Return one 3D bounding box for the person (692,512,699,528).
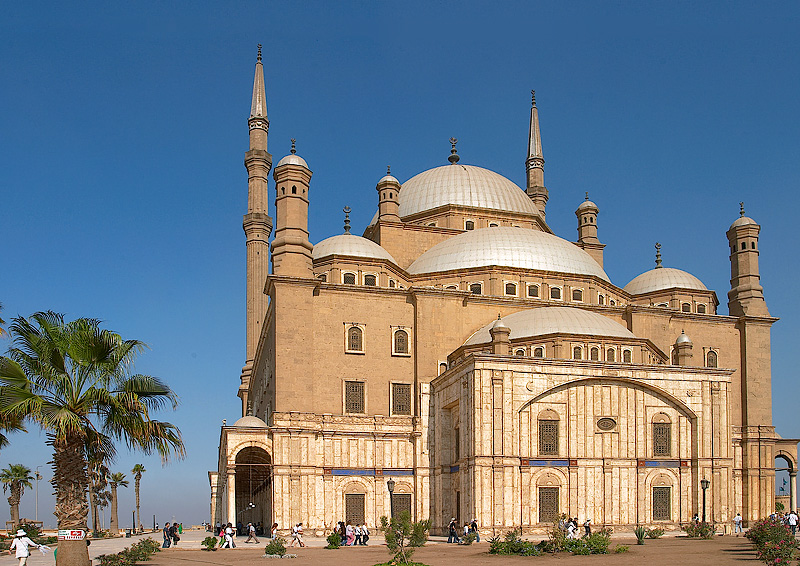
[{"bbox_3d":[16.987,13.730,94.793,0.417,0.722,0.506,3,-17,-3],"label":"person"}]
